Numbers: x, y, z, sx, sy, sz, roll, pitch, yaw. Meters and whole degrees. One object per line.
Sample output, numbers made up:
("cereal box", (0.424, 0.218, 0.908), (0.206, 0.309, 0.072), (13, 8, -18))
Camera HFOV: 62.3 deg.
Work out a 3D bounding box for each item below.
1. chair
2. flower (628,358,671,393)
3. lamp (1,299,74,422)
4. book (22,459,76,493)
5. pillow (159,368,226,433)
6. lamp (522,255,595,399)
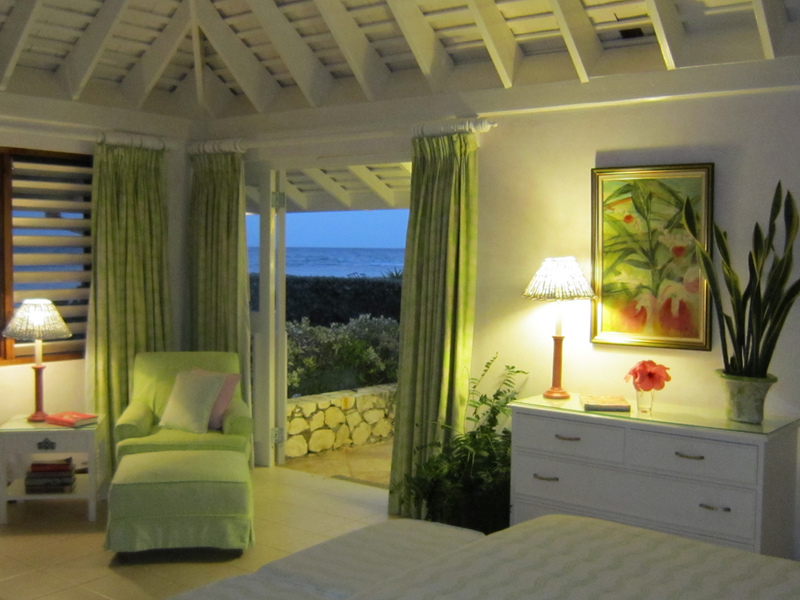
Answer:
("chair", (-1.502, 0.756, 4.756), (0.819, 0.910, 0.838), (0, -8, -3))
("flower", (1.329, 0.423, 3.577), (0.192, 0.097, 0.203), (0, 13, -5))
("lamp", (-2.557, 0.399, 4.663), (0.380, 0.814, 0.573), (-2, 4, -43))
("book", (-2.315, 1.175, 4.373), (0.229, 0.159, 0.237), (2, -1, -14))
("pillow", (-1.456, 0.713, 4.661), (0.352, 0.359, 0.271), (2, 3, 23))
("lamp", (0.966, 0.157, 4.039), (0.390, 0.838, 0.360), (2, 3, 19))
